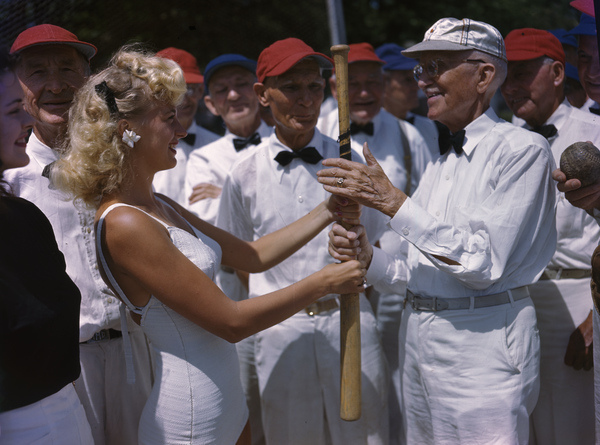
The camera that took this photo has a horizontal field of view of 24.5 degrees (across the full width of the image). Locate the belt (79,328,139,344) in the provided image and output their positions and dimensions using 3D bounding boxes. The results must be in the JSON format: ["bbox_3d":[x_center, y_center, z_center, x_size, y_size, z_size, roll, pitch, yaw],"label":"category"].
[{"bbox_3d":[-1.482,0.866,10.462,0.173,0.065,0.231,-4,-20,-40],"label":"belt"}]

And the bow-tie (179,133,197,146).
[{"bbox_3d":[-1.073,-0.806,13.263,0.123,0.033,0.135,-9,7,42],"label":"bow-tie"}]

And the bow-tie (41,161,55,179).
[{"bbox_3d":[-1.898,-0.395,10.353,0.089,0.044,0.106,-10,22,14],"label":"bow-tie"}]

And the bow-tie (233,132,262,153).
[{"bbox_3d":[-0.470,-0.712,12.318,0.259,0.168,0.201,-3,14,-14],"label":"bow-tie"}]

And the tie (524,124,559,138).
[{"bbox_3d":[1.914,-0.724,10.837,0.190,0.058,0.196,-8,14,8],"label":"tie"}]

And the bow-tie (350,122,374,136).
[{"bbox_3d":[0.560,-0.851,12.511,0.237,0.170,0.063,0,-14,19],"label":"bow-tie"}]

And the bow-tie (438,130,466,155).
[{"bbox_3d":[1.101,-0.585,10.152,0.064,0.215,0.246,-11,18,-40],"label":"bow-tie"}]

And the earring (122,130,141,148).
[{"bbox_3d":[-1.193,-0.591,9.666,0.105,0.108,0.044,-5,1,-13],"label":"earring"}]

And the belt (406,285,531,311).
[{"bbox_3d":[1.183,0.558,10.015,0.894,0.227,0.218,5,14,16],"label":"belt"}]
